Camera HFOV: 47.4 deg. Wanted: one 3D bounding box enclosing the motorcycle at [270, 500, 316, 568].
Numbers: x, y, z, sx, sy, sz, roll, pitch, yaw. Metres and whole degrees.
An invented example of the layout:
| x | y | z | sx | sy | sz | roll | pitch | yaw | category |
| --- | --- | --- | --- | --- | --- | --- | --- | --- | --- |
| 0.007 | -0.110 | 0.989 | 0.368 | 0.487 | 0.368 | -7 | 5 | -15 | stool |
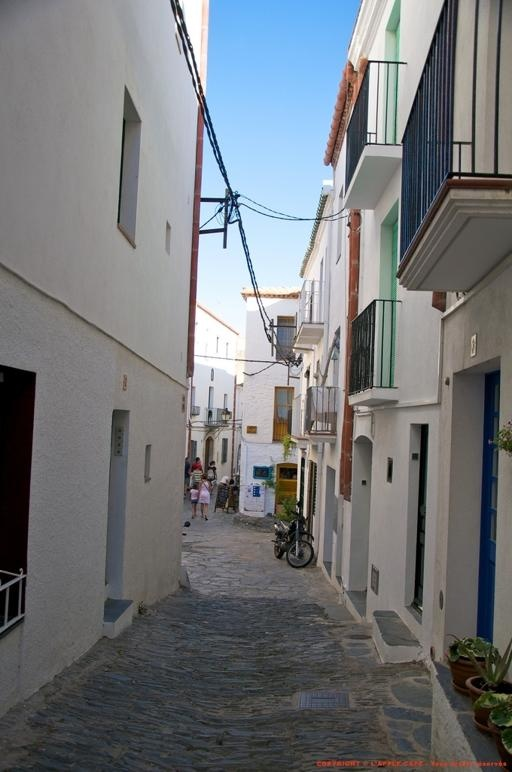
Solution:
| x | y | z | sx | sy | sz | roll | pitch | yaw | category |
| --- | --- | --- | --- | --- | --- | --- | --- | --- | --- |
| 0.906 | 3.575 | 13.873 | 0.959 | 1.255 | 1.529 | 1 | -11 | 3 | motorcycle |

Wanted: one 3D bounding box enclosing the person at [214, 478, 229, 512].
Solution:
| x | y | z | sx | sy | sz | roll | pitch | yaw | category |
| --- | --- | --- | --- | --- | --- | --- | --- | --- | --- |
| -1.500 | 4.808 | 26.242 | 0.557 | 1.526 | 1.684 | 1 | -11 | -3 | person |

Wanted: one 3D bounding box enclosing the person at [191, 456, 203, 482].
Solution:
| x | y | z | sx | sy | sz | roll | pitch | yaw | category |
| --- | --- | --- | --- | --- | --- | --- | --- | --- | --- |
| -2.512 | 3.511 | 24.940 | 0.356 | 1.091 | 1.867 | 2 | -12 | -9 | person |
